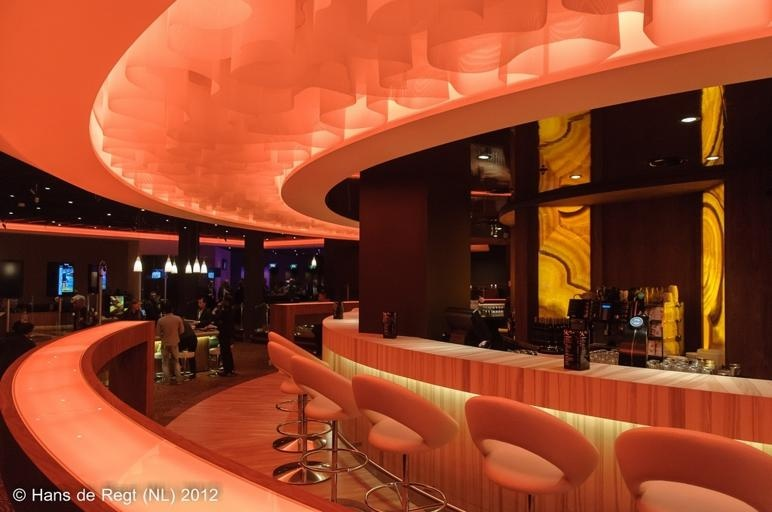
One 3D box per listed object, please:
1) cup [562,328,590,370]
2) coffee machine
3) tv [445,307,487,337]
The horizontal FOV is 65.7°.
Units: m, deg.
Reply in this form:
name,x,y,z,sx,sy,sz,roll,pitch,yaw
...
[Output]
name,x,y,z,sx,sy,sz,roll,pitch,yaw
cup,1.563,0.780,4.913,0.212,0.323,0.260,-2,-3,16
coffee machine,2.643,0.840,6.559,0.335,0.640,0.670,9,-12,-36
tv,0.874,0.709,6.322,0.273,0.416,0.463,2,-5,-35
